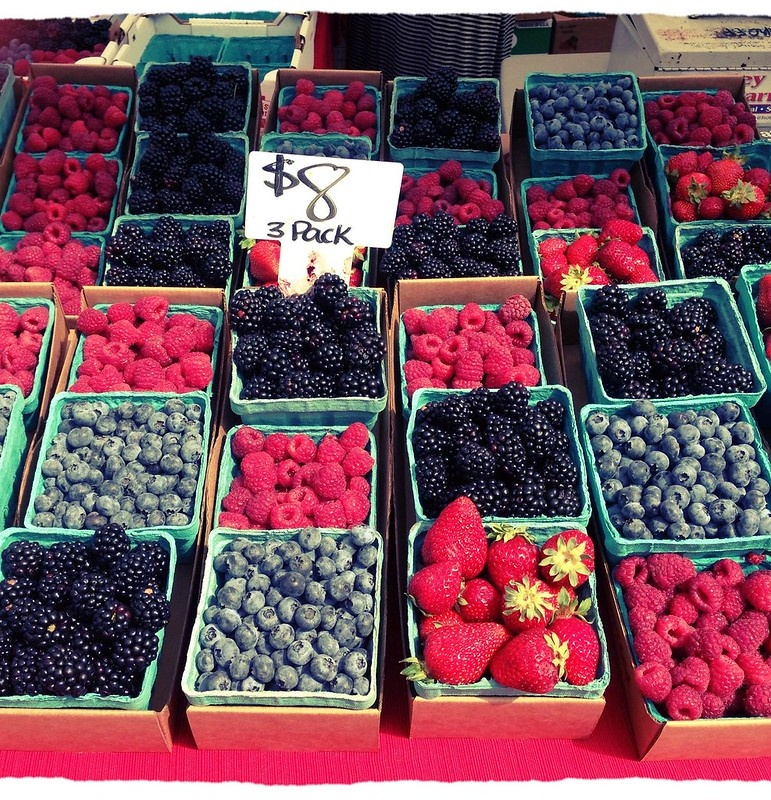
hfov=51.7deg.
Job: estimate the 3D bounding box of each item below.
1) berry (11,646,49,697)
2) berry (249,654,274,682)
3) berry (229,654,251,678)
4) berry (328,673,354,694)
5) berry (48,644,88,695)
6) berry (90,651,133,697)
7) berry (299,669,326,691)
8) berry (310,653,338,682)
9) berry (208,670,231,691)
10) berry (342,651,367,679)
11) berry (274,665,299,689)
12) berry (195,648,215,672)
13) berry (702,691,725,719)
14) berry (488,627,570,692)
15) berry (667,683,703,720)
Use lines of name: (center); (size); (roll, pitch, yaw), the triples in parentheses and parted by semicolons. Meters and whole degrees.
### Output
berry: (-1.059, 0.796, 2.379); (0.093, 0.139, 0.065); (18, 19, 34)
berry: (-0.377, 0.822, 2.439); (0.064, 0.075, 0.087); (1, 91, 2)
berry: (-0.456, 0.822, 2.485); (0.049, 0.066, 0.049); (-29, 61, -38)
berry: (-0.140, 0.858, 2.426); (0.049, 0.050, 0.053); (1, 89, 0)
berry: (-0.930, 0.797, 2.329); (0.106, 0.080, 0.134); (11, 21, -26)
berry: (-0.828, 0.849, 2.411); (0.111, 0.121, 0.108); (4, 56, 2)
berry: (-0.230, 0.853, 2.429); (0.053, 0.046, 0.031); (25, 25, -10)
berry: (-0.191, 0.818, 2.441); (0.071, 0.039, 0.075); (18, 44, 3)
berry: (-0.508, 0.857, 2.424); (0.051, 0.048, 0.050); (-52, 23, 9)
berry: (-0.095, 0.825, 2.469); (0.078, 0.056, 0.082); (-2, 57, -2)
berry: (-0.300, 0.842, 2.452); (0.063, 0.064, 0.068); (6, 83, 39)
berry: (-0.562, 0.805, 2.472); (0.049, 0.034, 0.065); (-3, 78, 18)
berry: (1.019, 0.944, 2.458); (0.054, 0.074, 0.067); (-3, 99, -11)
berry: (0.418, 0.763, 2.415); (0.220, 0.191, 0.188); (5, 58, -19)
berry: (0.916, 0.920, 2.417); (0.079, 0.063, 0.101); (6, 46, 18)
